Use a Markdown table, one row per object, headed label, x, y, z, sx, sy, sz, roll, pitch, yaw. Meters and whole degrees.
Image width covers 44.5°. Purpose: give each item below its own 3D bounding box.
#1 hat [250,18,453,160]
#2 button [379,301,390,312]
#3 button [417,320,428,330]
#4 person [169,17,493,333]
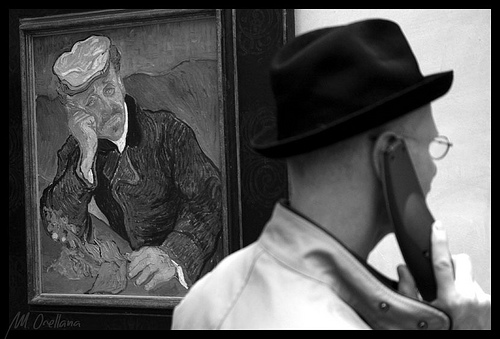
| label | x | y | z | sx | sy | sz | roll | pitch | yaw |
| --- | --- | --- | --- | --- | --- | --- | --- | --- | --- |
| hat | 0.347 | -0.322 | 2.288 | 0.766 | 0.309 | 0.439 | -27 | 66 | 9 |
| button | 0.474 | 0.487 | 2.167 | 0.036 | 0.015 | 0.032 | -43 | 64 | 1 |
| button | 0.613 | 0.557 | 2.181 | 0.035 | 0.023 | 0.031 | -3 | 71 | 18 |
| person | 0.208 | 0.131 | 2.602 | 1.129 | 1.357 | 1.214 | -6 | 97 | -22 |
